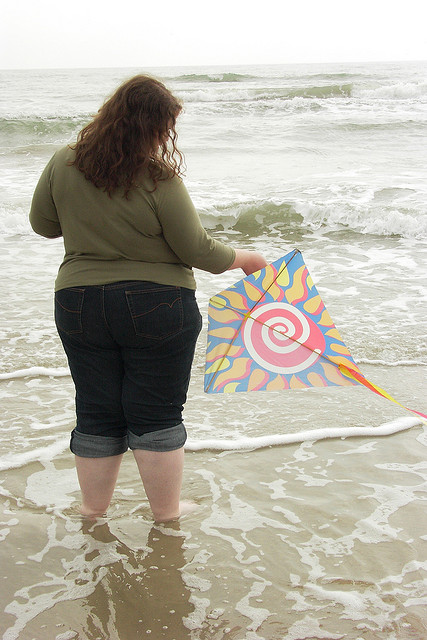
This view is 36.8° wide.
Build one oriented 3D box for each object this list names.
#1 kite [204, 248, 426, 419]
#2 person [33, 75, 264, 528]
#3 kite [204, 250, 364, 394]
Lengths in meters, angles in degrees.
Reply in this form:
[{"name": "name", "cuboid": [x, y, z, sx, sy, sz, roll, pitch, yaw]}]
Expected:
[{"name": "kite", "cuboid": [0.622, 0.110, 3.613, 1.487, 0.627, 0.060, 18, 8, -1]}, {"name": "person", "cuboid": [-0.253, 0.048, 2.222, 0.648, 1.681, 0.324, -4, 21, -10]}, {"name": "kite", "cuboid": [0.280, 0.003, 2.485, 0.675, 0.532, 0.042, 0, 0, 26]}]
